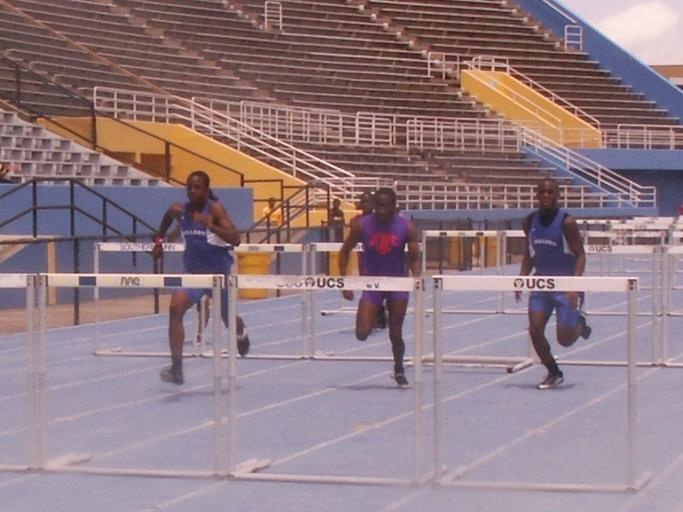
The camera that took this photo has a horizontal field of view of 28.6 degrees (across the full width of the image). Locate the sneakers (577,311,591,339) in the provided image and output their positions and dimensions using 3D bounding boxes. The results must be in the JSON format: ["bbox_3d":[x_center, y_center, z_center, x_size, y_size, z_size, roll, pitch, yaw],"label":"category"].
[{"bbox_3d":[2.814,0.796,15.429,0.130,0.352,0.144,-14,25,1],"label":"sneakers"}]

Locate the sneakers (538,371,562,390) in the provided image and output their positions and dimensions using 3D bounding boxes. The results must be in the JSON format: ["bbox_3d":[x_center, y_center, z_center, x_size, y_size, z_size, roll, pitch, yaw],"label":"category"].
[{"bbox_3d":[2.394,1.390,15.202,0.378,0.136,0.133,-4,-2,-35],"label":"sneakers"}]
